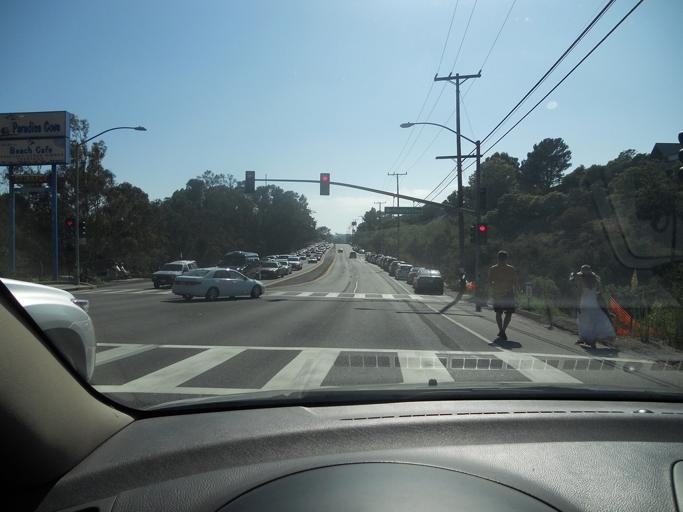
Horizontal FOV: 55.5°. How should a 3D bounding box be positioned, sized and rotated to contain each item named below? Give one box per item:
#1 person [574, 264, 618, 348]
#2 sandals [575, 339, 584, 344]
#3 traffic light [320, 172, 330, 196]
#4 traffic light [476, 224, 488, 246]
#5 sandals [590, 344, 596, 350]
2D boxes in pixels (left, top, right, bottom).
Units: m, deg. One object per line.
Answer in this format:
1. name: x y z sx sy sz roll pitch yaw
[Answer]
1. person: 5.166 0.948 13.396 0.621 1.702 0.582 -5 14 16
2. sandals: 5.043 1.825 13.767 0.118 0.057 0.171 -1 -4 6
3. traffic light: -0.730 -3.166 28.611 0.369 0.894 0.333 0 0 -17
4. traffic light: 5.659 -0.902 26.143 0.361 0.778 0.312 0 0 31
5. sandals: 5.152 1.845 13.228 0.092 0.118 0.103 1 -16 3
